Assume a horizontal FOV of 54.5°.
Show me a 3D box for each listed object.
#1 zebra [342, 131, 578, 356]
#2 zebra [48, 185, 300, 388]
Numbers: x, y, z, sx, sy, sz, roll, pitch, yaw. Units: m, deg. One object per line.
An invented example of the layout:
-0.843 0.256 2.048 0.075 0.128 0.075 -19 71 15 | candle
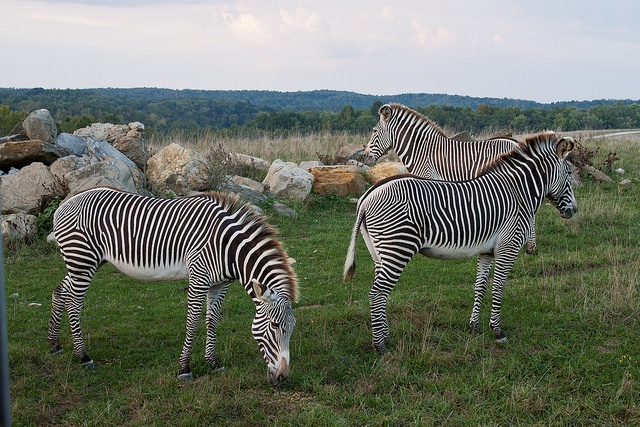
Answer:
2.674 0.671 11.550 4.060 3.603 1.271 -1 3 -7 | zebra
-2.596 1.108 10.426 4.701 3.200 1.144 8 7 8 | zebra
